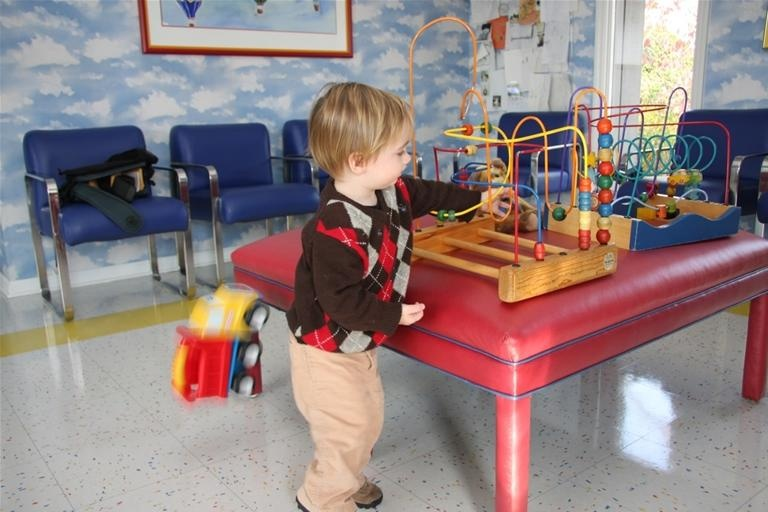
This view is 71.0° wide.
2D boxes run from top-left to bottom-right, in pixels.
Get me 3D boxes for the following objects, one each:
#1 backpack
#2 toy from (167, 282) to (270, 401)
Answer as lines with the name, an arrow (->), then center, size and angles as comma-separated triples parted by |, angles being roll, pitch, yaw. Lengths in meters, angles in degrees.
backpack -> -1.502, -0.390, 2.987 | 0.491, 0.247, 0.546 | -14, 32, -37
toy -> -0.659, 0.246, 2.249 | 0.442, 0.518, 0.471 | -5, 20, -31
